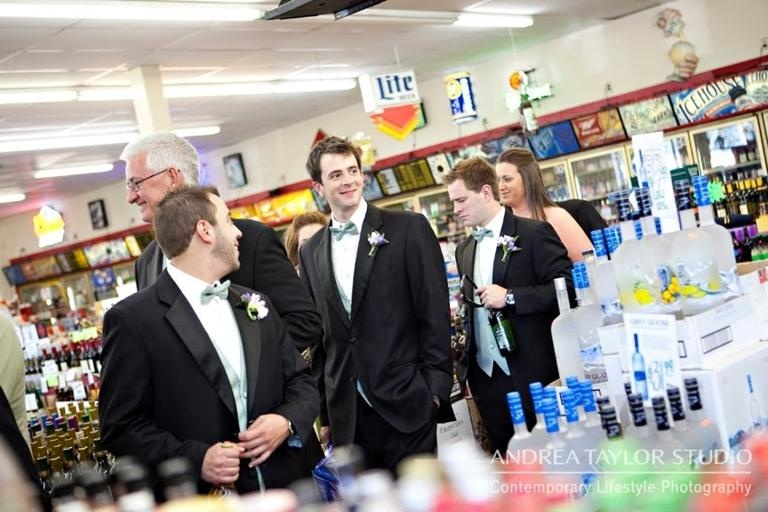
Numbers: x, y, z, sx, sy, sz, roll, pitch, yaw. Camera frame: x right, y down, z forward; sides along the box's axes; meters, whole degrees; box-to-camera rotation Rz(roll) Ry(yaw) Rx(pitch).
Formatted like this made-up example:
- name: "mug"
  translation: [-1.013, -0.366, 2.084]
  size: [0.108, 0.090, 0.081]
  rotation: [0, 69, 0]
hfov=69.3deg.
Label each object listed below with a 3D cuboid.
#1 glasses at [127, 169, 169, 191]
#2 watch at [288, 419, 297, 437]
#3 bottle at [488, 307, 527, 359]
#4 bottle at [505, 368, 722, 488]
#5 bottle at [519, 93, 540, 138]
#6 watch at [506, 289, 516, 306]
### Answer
- name: "glasses"
  translation: [-1.211, -0.359, 2.857]
  size: [0.146, 0.042, 0.137]
  rotation: [-30, 10, -26]
- name: "watch"
  translation: [-0.400, 0.760, 2.445]
  size: [0.025, 0.060, 0.048]
  rotation: [-9, 5, 0]
- name: "bottle"
  translation: [0.726, 0.467, 3.347]
  size: [0.142, 0.275, 0.101]
  rotation: [-11, 1, 8]
- name: "bottle"
  translation: [0.704, 0.579, 1.767]
  size: [0.414, 0.384, 0.392]
  rotation: [-8, -5, -11]
- name: "bottle"
  translation: [2.424, -2.374, 9.375]
  size: [0.252, 0.659, 0.416]
  rotation: [-11, 1, 17]
- name: "watch"
  translation: [0.745, 0.264, 3.293]
  size: [0.058, 0.078, 0.073]
  rotation: [0, 6, -7]
